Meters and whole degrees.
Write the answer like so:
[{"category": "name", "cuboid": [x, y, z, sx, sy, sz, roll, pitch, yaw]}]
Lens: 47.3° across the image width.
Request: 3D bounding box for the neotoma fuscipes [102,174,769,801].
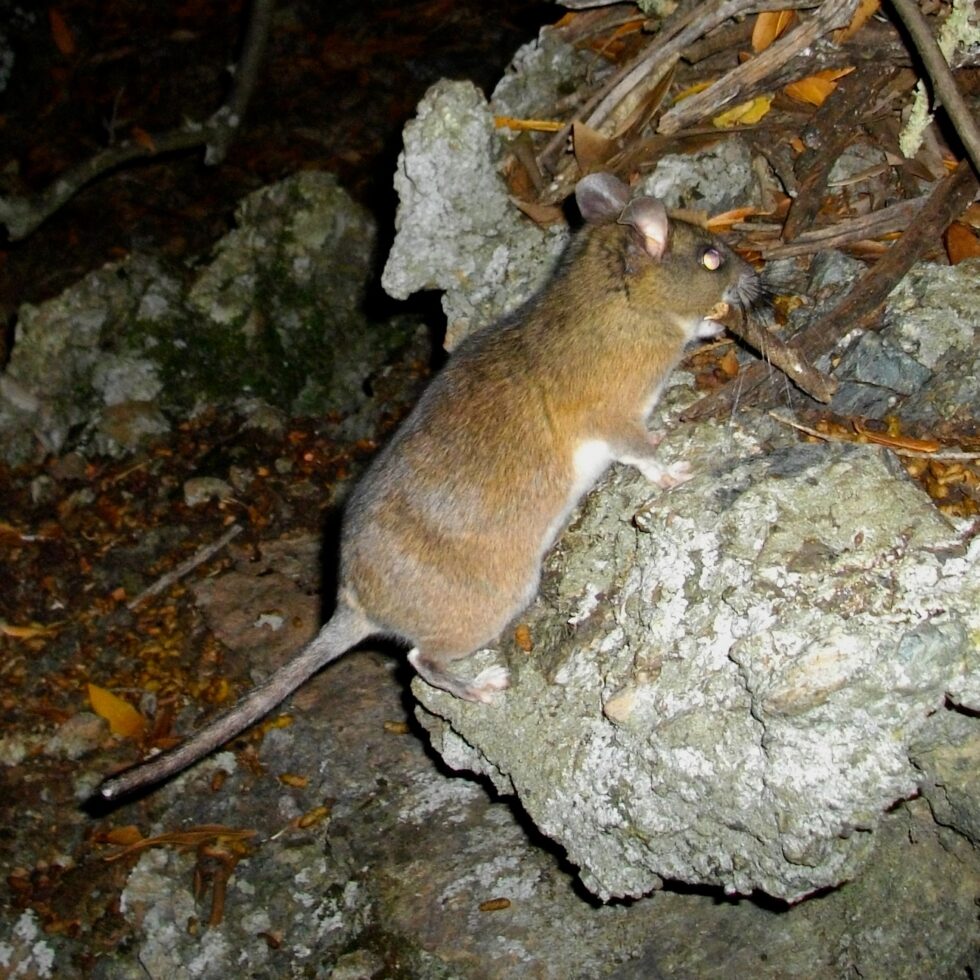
[{"category": "neotoma fuscipes", "cuboid": [-0.249, 0.182, 5.400, 4.216, 1.505, 1.173, -41, 50, -15]}]
